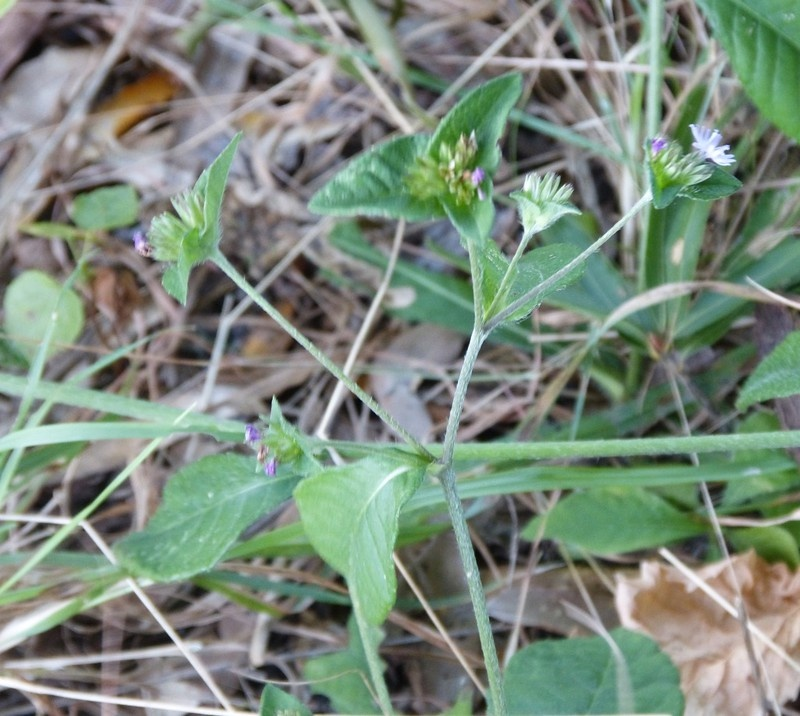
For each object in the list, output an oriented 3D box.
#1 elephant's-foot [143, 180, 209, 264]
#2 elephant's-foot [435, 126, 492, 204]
[{"bbox_3d":[-0.277,-0.156,1.014,0.055,0.087,0.095,37,74,-21],"label":"elephant's-foot"},{"bbox_3d":[0.063,-0.199,0.888,0.076,0.041,0.061,-15,106,-1],"label":"elephant's-foot"}]
